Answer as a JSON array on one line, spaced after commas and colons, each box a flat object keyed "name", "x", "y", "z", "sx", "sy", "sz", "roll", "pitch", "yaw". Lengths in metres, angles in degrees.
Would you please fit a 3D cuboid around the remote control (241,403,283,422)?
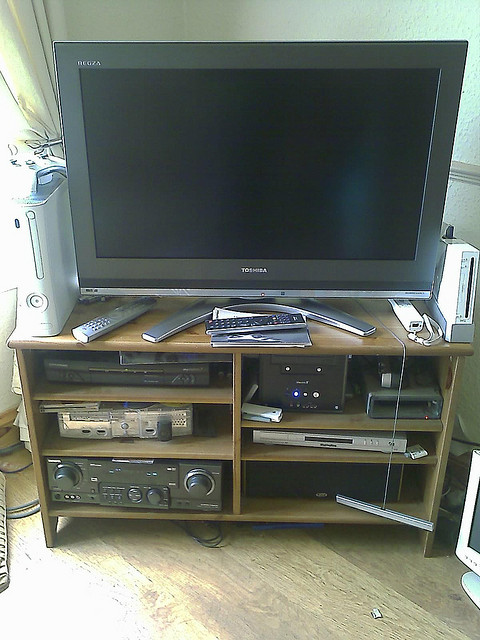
[{"name": "remote control", "x": 0.052, "y": 0.229, "z": 1.290, "sx": 0.066, "sy": 0.017, "sz": 0.047, "roll": 4, "pitch": 22, "yaw": 8}]

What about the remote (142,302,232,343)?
[{"name": "remote", "x": -0.124, "y": -0.026, "z": 1.293, "sx": 0.059, "sy": 0.031, "sz": 0.282, "roll": 19, "pitch": 32, "yaw": 31}]

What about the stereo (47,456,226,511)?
[{"name": "stereo", "x": -0.258, "y": 0.422, "z": 1.411, "sx": 0.464, "sy": 0.136, "sz": 0.134, "roll": -1, "pitch": 2, "yaw": 6}]

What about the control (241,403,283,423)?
[{"name": "control", "x": 0.057, "y": 0.226, "z": 1.294, "sx": 0.068, "sy": 0.016, "sz": 0.046, "roll": 5, "pitch": 21, "yaw": 6}]

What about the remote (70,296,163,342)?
[{"name": "remote", "x": -0.290, "y": -0.026, "z": 1.294, "sx": 0.076, "sy": 0.032, "sz": 0.240, "roll": 22, "pitch": 32, "yaw": 27}]

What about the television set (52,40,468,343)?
[{"name": "television set", "x": 0.040, "y": -0.353, "z": 1.277, "sx": 1.088, "sy": 0.716, "sz": 0.131, "roll": -2, "pitch": 30, "yaw": -5}]

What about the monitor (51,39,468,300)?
[{"name": "monitor", "x": 0.039, "y": -0.333, "z": 1.252, "sx": 0.905, "sy": 0.560, "sz": 0.061, "roll": 1, "pitch": 20, "yaw": 2}]
